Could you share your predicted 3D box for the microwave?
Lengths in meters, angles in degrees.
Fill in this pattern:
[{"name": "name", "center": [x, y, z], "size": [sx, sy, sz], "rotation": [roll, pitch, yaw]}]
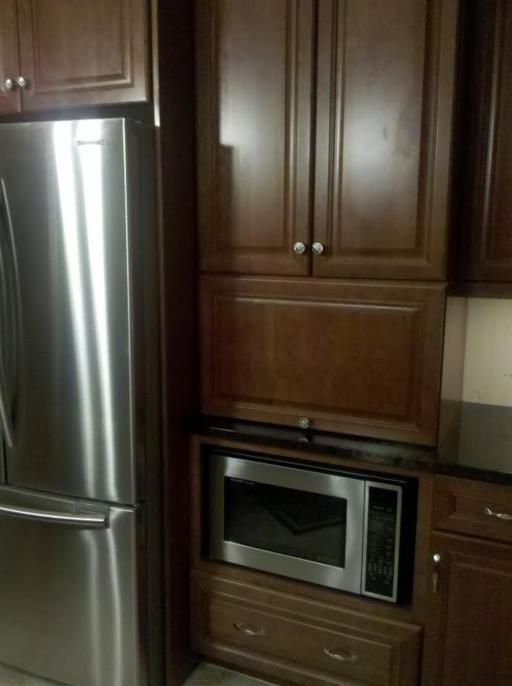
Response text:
[{"name": "microwave", "center": [0.157, 0.295, 1.612], "size": [0.536, 0.314, 0.441], "rotation": [7, -79, 28]}]
